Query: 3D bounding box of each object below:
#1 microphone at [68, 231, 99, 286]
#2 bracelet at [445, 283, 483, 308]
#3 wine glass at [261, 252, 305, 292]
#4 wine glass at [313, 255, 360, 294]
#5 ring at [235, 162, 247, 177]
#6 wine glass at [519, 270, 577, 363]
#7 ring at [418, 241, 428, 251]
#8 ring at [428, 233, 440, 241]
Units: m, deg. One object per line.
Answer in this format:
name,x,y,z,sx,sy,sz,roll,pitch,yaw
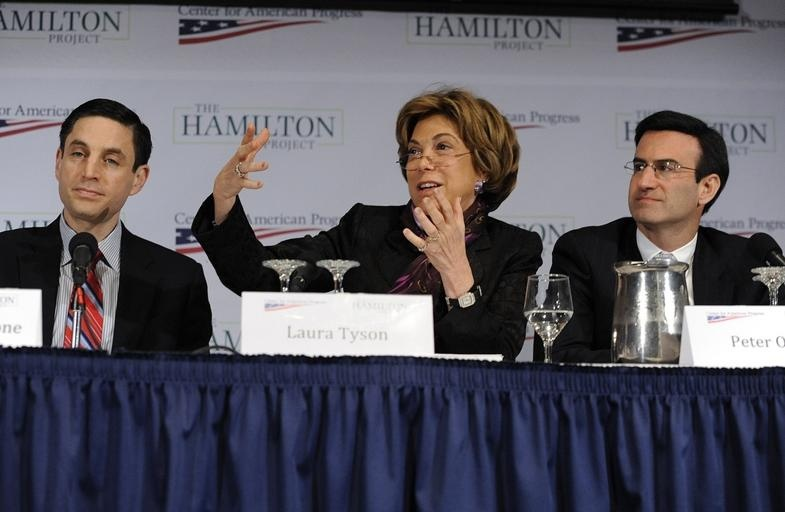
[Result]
microphone,-1.180,0.010,4.097,0.109,0.211,0.204,1,-2,-15
bracelet,0.310,0.177,4.531,0.116,0.043,0.112,-20,17,38
wine glass,-0.481,0.070,4.628,0.159,0.186,0.181,4,-6,-41
wine glass,-0.237,0.078,4.628,0.170,0.186,0.177,0,-1,23
ring,-0.635,-0.369,4.573,0.025,0.042,0.057,-13,-32,-2
wine glass,0.620,0.240,4.208,0.170,0.338,0.212,2,-2,-31
ring,0.139,-0.041,4.420,0.036,0.039,0.022,-7,6,-26
ring,0.180,-0.077,4.408,0.044,0.032,0.020,1,-2,-4
